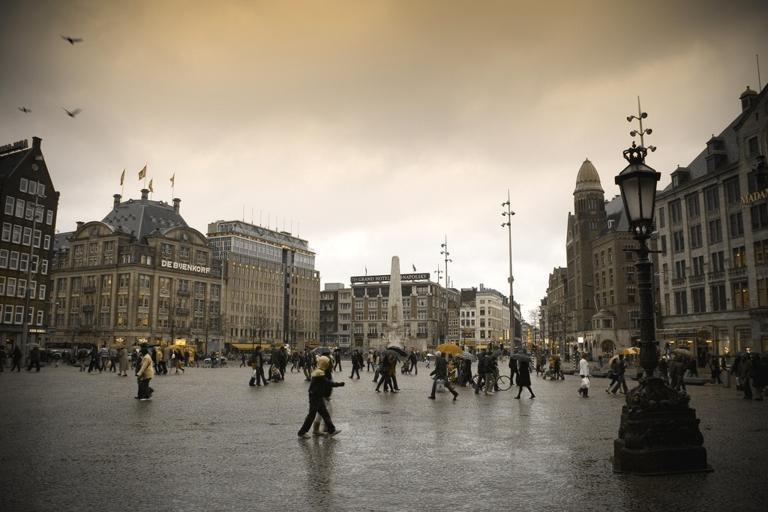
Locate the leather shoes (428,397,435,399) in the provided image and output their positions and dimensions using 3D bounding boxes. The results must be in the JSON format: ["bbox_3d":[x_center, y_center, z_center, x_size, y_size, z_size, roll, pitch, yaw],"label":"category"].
[{"bbox_3d":[2.111,6.354,30.284,0.227,0.126,0.595,1,-11,-3],"label":"leather shoes"}]

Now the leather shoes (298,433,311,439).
[{"bbox_3d":[-2.444,5.528,20.686,0.421,0.185,0.146,0,-11,2],"label":"leather shoes"}]

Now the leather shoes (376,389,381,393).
[{"bbox_3d":[-0.289,6.702,33.463,0.257,0.180,0.102,-3,-4,-5],"label":"leather shoes"}]

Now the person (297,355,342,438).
[{"bbox_3d":[-2.024,4.385,21.252,1.167,2.512,1.407,2,-10,-4],"label":"person"}]
